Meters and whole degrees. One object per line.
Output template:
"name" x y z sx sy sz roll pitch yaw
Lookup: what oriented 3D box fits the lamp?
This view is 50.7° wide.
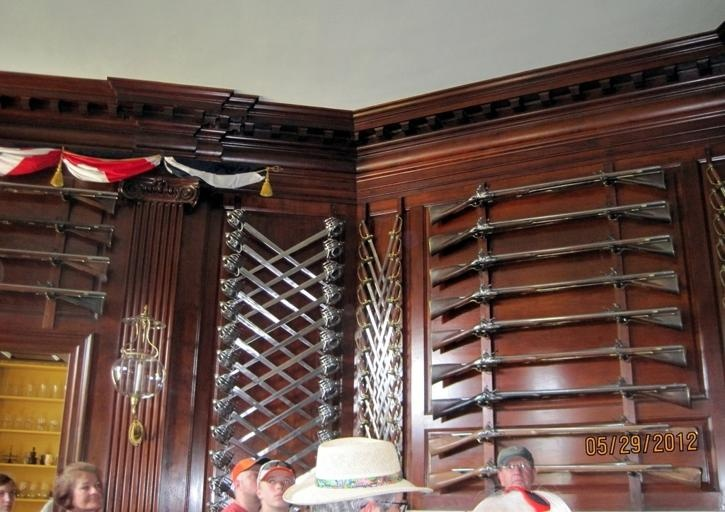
"lamp" -1.884 1.003 6.530 0.413 1.168 0.383 5 -28 -13

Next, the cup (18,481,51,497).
"cup" -3.367 2.428 8.018 0.308 0.171 0.290 2 -6 0

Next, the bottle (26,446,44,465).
"bottle" -3.415 2.120 8.120 0.179 0.180 0.085 7 -28 -18

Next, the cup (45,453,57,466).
"cup" -3.254 2.153 8.080 0.100 0.085 0.098 2 -17 1

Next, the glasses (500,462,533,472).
"glasses" 0.996 1.354 4.902 0.124 0.035 0.085 3 -5 -37

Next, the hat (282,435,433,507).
"hat" -0.036 1.112 4.156 0.650 0.184 0.493 0 -13 -8
